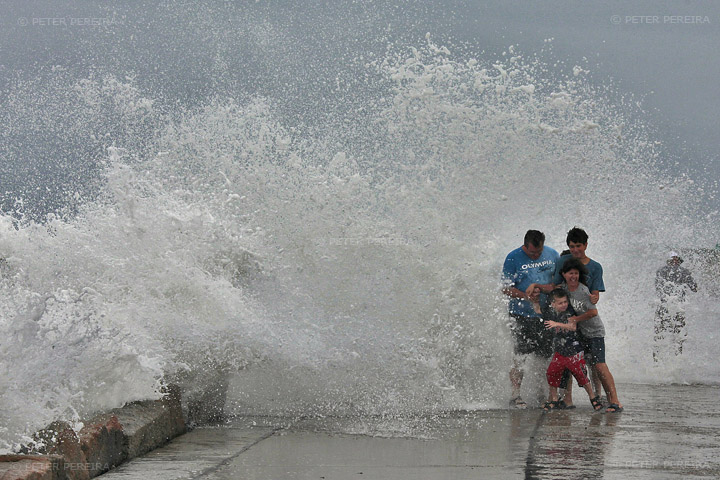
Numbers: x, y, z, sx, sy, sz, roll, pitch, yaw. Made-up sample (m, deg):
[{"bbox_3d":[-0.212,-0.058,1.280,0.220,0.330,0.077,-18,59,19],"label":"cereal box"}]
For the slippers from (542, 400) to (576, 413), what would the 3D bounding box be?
[{"bbox_3d":[1.888,1.594,10.977,0.325,0.074,0.115,3,-4,-20],"label":"slippers"}]

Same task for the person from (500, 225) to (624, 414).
[{"bbox_3d":[1.858,0.727,11.077,0.952,1.609,0.572,-1,-9,5],"label":"person"}]

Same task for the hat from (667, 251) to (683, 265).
[{"bbox_3d":[3.711,0.233,13.580,0.247,0.155,0.095,7,-12,-37],"label":"hat"}]

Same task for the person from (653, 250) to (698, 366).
[{"bbox_3d":[3.725,0.831,13.752,0.486,1.230,0.808,-8,-12,41],"label":"person"}]

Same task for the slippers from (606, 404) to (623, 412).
[{"bbox_3d":[2.391,1.587,10.870,0.153,0.067,0.113,-1,-9,9],"label":"slippers"}]
